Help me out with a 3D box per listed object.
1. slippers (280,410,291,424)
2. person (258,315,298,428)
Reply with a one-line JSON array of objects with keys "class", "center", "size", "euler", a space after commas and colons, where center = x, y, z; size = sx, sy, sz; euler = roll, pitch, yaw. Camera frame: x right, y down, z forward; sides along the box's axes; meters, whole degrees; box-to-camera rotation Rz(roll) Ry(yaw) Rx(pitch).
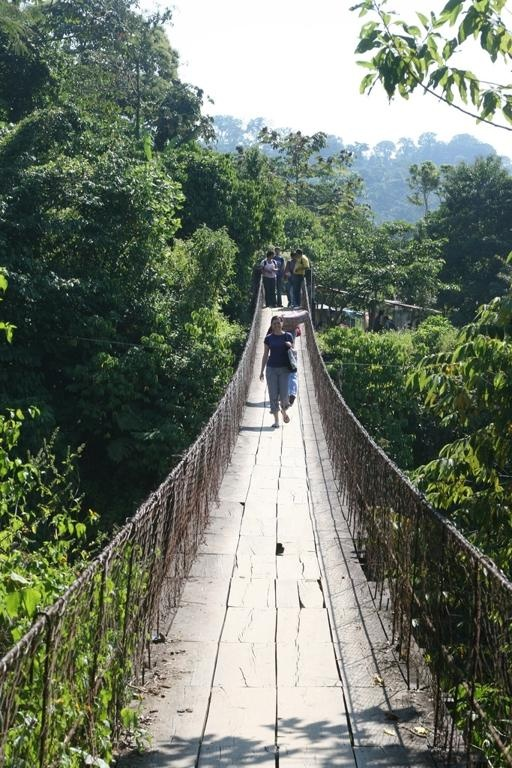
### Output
[{"class": "slippers", "center": [0.411, 0.386, 9.922], "size": [0.074, 0.277, 0.065], "euler": [-4, -17, -6]}, {"class": "person", "center": [0.298, -0.114, 9.196], "size": [0.413, 1.457, 1.065], "euler": [3, 5, 3]}]
